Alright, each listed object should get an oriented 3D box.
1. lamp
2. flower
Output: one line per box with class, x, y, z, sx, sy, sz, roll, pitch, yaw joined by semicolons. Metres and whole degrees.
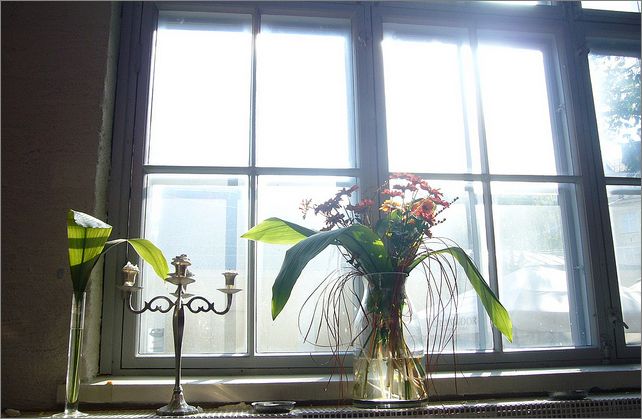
lamp;-0.527;0.491;2.371;0.609;0.640;0.554;3;-9;-24
flower;0.298;0.269;2.342;0.933;0.813;0.976;-2;-14;14
